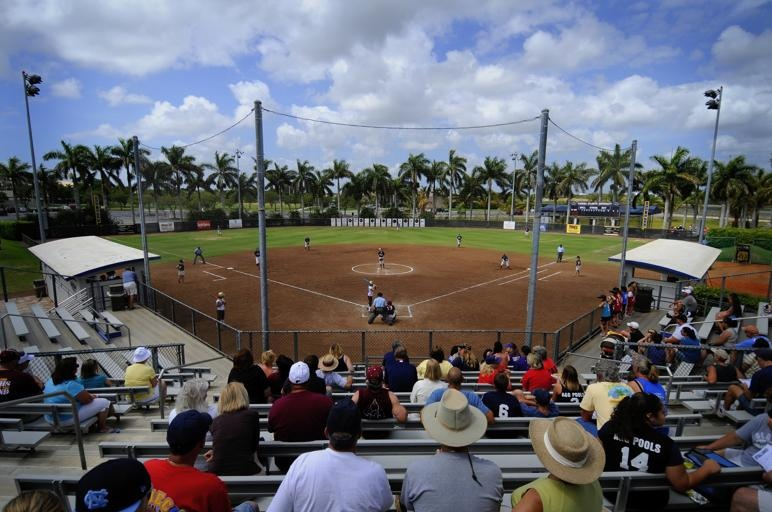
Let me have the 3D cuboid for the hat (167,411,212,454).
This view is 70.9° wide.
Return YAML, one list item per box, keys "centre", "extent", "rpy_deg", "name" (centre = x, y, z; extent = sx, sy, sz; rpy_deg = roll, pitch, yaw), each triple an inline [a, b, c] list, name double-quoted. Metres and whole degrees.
- centre: [-3.541, 3.149, 9.909]
  extent: [0.618, 0.444, 0.819]
  rpy_deg: [9, 36, 4]
  name: "hat"

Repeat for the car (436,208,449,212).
- centre: [15.756, -13.080, 151.843]
  extent: [2.245, 1.603, 3.407]
  rpy_deg: [-1, 1, -7]
  name: "car"

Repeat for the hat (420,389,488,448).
- centre: [1.219, 2.937, 9.843]
  extent: [1.148, 0.968, 0.469]
  rpy_deg: [2, 3, 6]
  name: "hat"

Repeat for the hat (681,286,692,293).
- centre: [13.796, 1.520, 24.838]
  extent: [0.333, 0.170, 0.470]
  rpy_deg: [1, 7, 32]
  name: "hat"

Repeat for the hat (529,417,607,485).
- centre: [3.184, 3.408, 9.540]
  extent: [1.247, 1.135, 0.452]
  rpy_deg: [2, 3, 13]
  name: "hat"
